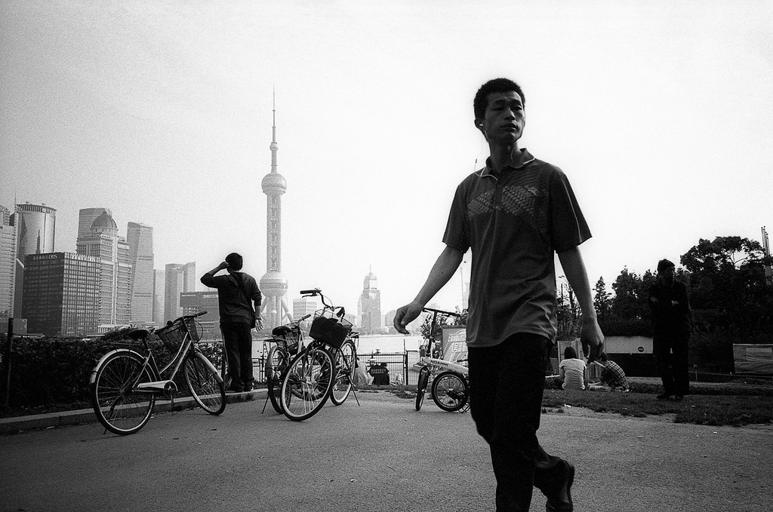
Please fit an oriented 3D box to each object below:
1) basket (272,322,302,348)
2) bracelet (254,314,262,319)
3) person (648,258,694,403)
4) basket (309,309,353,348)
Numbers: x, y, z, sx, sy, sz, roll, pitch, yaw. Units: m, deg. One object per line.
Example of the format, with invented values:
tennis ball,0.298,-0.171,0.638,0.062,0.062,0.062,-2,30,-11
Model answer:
basket,-1.794,1.454,11.043,0.363,0.482,0.740,-4,-5,28
bracelet,-2.304,1.102,10.723,0.080,0.065,0.084,1,5,0
person,4.734,1.224,9.954,0.615,2.318,0.465,-1,-7,15
basket,-0.901,1.229,9.907,0.571,0.409,0.475,9,-24,29
